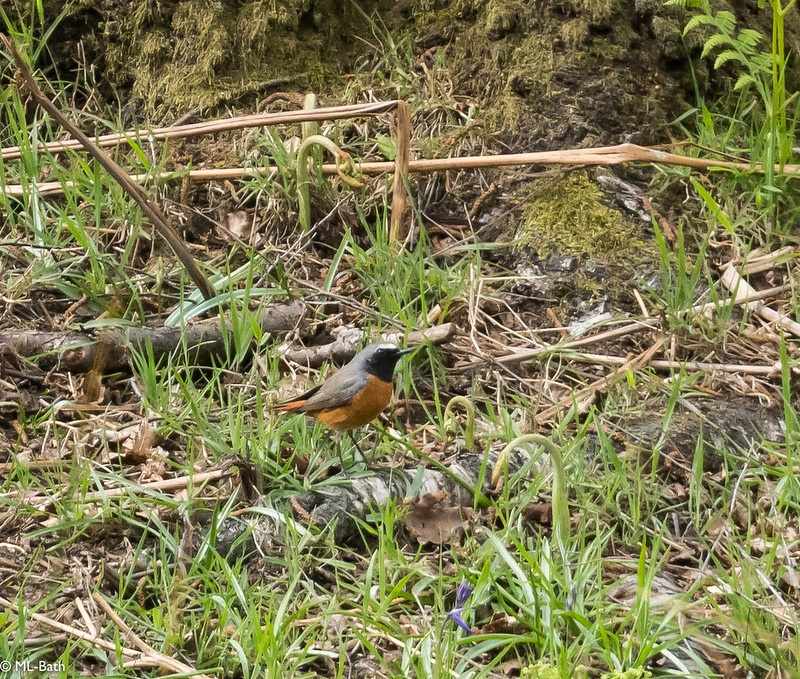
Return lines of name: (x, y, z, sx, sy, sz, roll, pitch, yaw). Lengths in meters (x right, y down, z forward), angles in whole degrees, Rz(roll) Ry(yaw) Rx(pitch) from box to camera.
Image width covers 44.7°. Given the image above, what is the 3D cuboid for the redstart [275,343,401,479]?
redstart: (-0.301, 0.332, 5.183, 0.508, 0.653, 0.655, 29, 62, 13)
